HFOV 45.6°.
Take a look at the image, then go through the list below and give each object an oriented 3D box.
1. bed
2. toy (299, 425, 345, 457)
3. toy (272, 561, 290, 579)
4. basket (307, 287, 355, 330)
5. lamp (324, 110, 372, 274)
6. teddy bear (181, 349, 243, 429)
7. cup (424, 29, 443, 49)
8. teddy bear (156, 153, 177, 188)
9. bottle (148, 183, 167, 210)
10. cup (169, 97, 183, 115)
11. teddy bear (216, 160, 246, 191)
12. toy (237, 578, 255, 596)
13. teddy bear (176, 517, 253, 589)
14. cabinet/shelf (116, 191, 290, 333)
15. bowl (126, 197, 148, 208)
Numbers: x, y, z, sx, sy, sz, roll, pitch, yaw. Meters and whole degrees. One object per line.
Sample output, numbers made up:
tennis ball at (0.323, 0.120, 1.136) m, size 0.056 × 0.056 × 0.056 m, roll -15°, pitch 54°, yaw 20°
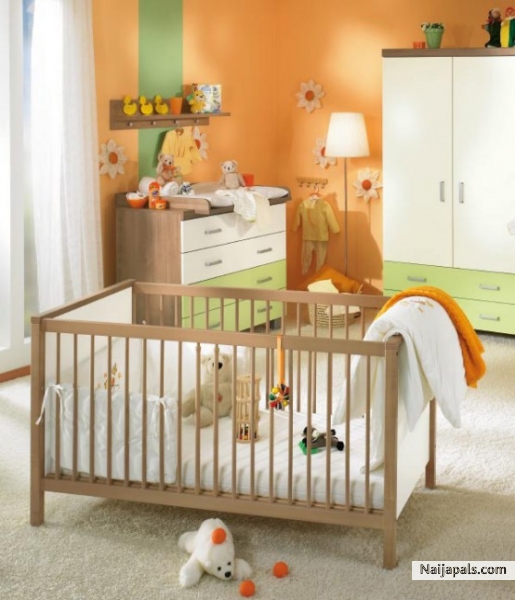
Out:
bed at (-0.077, 0.322, 1.964) m, size 0.975 × 0.654 × 0.856 m, roll 2°, pitch 9°, yaw 16°
toy at (0.174, 0.390, 1.791) m, size 0.125 × 0.052 × 0.097 m, roll -6°, pitch 11°, yaw -36°
toy at (0.058, 0.674, 1.532) m, size 0.037 × 0.032 × 0.030 m, roll -3°, pitch -3°, yaw 18°
basket at (0.520, 0.059, 4.358) m, size 0.327 × 0.129 × 0.271 m, roll 2°, pitch 7°, yaw 7°
lamp at (0.692, -0.841, 4.746) m, size 0.354 × 1.192 × 0.506 m, roll 0°, pitch 5°, yaw 6°
teddy bear at (-0.154, 0.312, 2.148) m, size 0.236 × 0.277 × 0.158 m, roll -1°, pitch -21°, yaw -15°
cup at (1.162, -1.705, 4.059) m, size 0.101 × 0.159 × 0.274 m, roll 1°, pitch 5°, yaw 13°
teddy bear at (-0.610, -0.894, 4.154) m, size 0.057 × 0.181 × 0.159 m, roll 3°, pitch 6°, yaw 37°
bottle at (-0.595, -0.606, 3.666) m, size 0.092 × 0.210 × 0.088 m, roll -2°, pitch 6°, yaw 0°
cup at (-0.551, -1.309, 4.159) m, size 0.104 × 0.097 × 0.122 m, roll 0°, pitch 2°, yaw -1°
teddy bear at (-0.171, -0.866, 4.234) m, size 0.106 × 0.200 × 0.233 m, roll 3°, pitch 6°, yaw 36°
toy at (-0.029, 0.678, 1.461) m, size 0.035 × 0.035 × 0.019 m, roll -40°, pitch -8°, yaw -7°
teddy bear at (-0.114, 0.629, 1.598) m, size 0.185 × 0.133 × 0.222 m, roll -1°, pitch 5°, yaw -8°
cabinet/shelf at (-0.336, -0.175, 4.157) m, size 0.589 × 0.953 × 1.112 m, roll 7°, pitch 15°, yaw 32°
bowl at (-0.730, -0.588, 3.722) m, size 0.128 × 0.068 × 0.113 m, roll -1°, pitch 5°, yaw -5°
